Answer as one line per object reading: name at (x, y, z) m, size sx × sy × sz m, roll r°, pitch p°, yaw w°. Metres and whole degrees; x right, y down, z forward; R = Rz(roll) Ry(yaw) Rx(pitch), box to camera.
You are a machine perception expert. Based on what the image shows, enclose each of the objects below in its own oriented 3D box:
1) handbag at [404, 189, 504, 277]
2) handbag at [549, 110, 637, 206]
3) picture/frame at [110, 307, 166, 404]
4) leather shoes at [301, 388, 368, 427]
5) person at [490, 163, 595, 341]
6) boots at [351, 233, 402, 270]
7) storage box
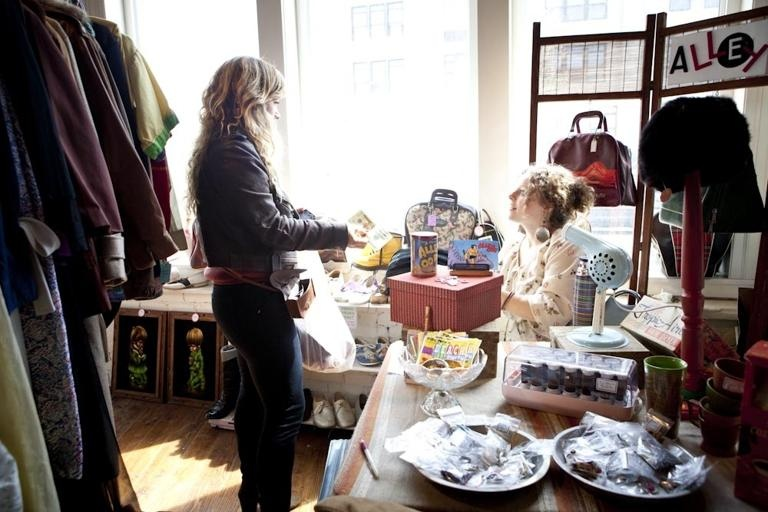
handbag at (0.381, -0.124, 2.678) m, size 0.514 × 0.489 × 0.209 m, roll 0°, pitch 4°, yaw 8°
handbag at (1.139, -0.510, 2.728) m, size 0.575 × 0.561 × 0.261 m, roll 3°, pitch 9°, yaw 27°
picture/frame at (-1.632, 0.643, 3.379) m, size 0.399 × 0.581 × 0.132 m, roll 0°, pitch 8°, yaw 18°
leather shoes at (-0.299, 0.920, 2.998) m, size 0.240 × 0.109 × 0.326 m, roll -1°, pitch -1°, yaw -8°
person at (0.760, 0.004, 2.470) m, size 0.462 × 0.887 × 0.565 m, roll 1°, pitch 8°, yaw 23°
boots at (-0.075, -0.024, 3.304) m, size 0.358 × 0.252 × 0.158 m, roll 5°, pitch 15°, yaw 9°
storage box at (0.258, 0.129, 1.901) m, size 0.272 × 0.144 × 0.273 m, roll 5°, pitch 7°, yaw 36°
